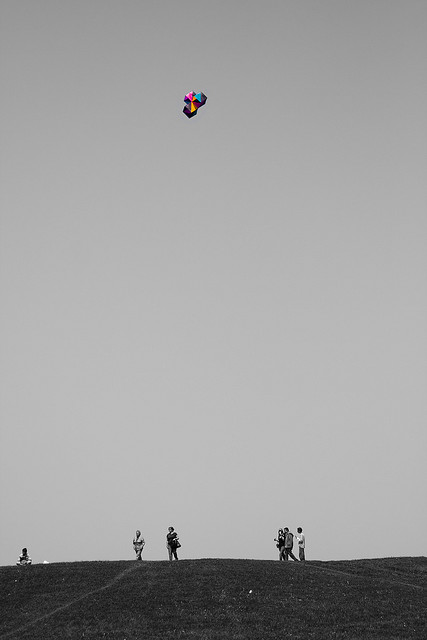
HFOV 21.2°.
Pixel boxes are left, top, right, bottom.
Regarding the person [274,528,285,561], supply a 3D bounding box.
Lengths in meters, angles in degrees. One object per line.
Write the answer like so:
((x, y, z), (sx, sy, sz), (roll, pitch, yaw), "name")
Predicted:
((4.185, 13.917, 70.728), (0.429, 2.010, 1.144), (0, -1, 2), "person")

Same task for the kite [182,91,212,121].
((-1.583, -16.993, 91.660), (1.397, 1.938, 2.378), (0, -1, -29), "kite")
